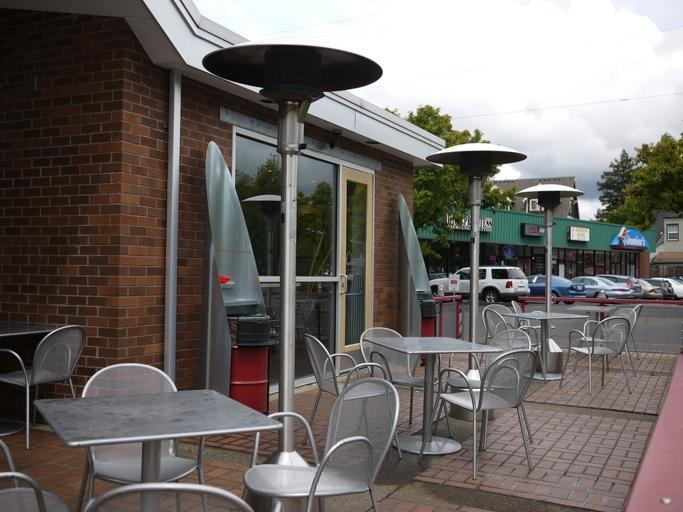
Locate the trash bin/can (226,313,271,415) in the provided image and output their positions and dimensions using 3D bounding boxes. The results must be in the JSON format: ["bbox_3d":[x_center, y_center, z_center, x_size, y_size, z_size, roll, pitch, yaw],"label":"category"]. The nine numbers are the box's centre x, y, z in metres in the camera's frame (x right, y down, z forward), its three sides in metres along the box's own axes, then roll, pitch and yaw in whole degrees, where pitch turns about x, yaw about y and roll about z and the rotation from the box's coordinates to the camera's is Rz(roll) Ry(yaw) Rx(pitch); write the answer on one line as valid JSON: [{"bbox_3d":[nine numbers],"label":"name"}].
[{"bbox_3d":[-1.071,1.163,6.477,0.736,1.026,0.693,4,-10,-16],"label":"trash bin/can"}]
